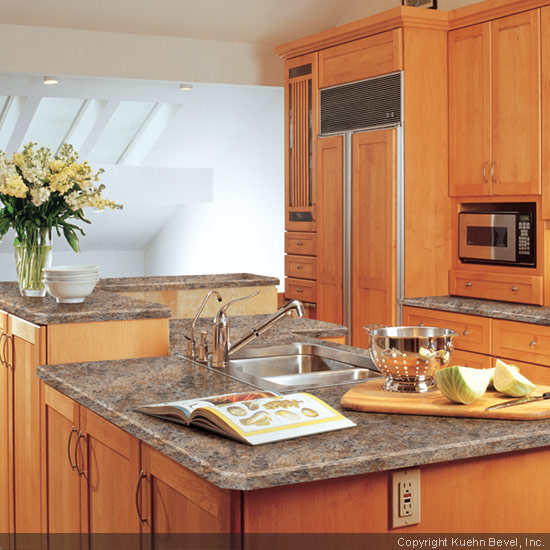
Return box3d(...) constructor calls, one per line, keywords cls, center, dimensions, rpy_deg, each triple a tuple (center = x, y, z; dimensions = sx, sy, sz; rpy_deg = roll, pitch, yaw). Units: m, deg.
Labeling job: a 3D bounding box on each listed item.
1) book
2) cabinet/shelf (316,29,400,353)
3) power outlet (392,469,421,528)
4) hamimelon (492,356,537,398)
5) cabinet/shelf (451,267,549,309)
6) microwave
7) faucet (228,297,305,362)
box3d(cls="book", center=(-0.058, 0.265, 1.108), dimensions=(0.279, 0.062, 0.384), rpy_deg=(-3, 6, -40))
box3d(cls="cabinet/shelf", center=(0.635, -0.653, 4.110), dimensions=(0.512, 2.028, 0.903), rpy_deg=(-7, 10, -32))
box3d(cls="power outlet", center=(0.218, 0.373, 0.913), dimensions=(0.063, 0.102, 0.006), rpy_deg=(-2, 6, -26))
box3d(cls="hamimelon", center=(0.508, 0.230, 1.217), dimensions=(0.080, 0.053, 0.103), rpy_deg=(-11, 20, -29))
box3d(cls="cabinet/shelf", center=(1.459, 0.076, 3.598), dimensions=(0.622, 0.178, 0.228), rpy_deg=(1, 7, 9))
box3d(cls="microwave", center=(1.448, -0.255, 3.624), dimensions=(0.421, 0.395, 0.706), rpy_deg=(-3, 5, -34))
box3d(cls="faucet", center=(-0.051, 0.236, 2.356), dimensions=(0.452, 0.110, 0.067), rpy_deg=(-24, 36, 14))
